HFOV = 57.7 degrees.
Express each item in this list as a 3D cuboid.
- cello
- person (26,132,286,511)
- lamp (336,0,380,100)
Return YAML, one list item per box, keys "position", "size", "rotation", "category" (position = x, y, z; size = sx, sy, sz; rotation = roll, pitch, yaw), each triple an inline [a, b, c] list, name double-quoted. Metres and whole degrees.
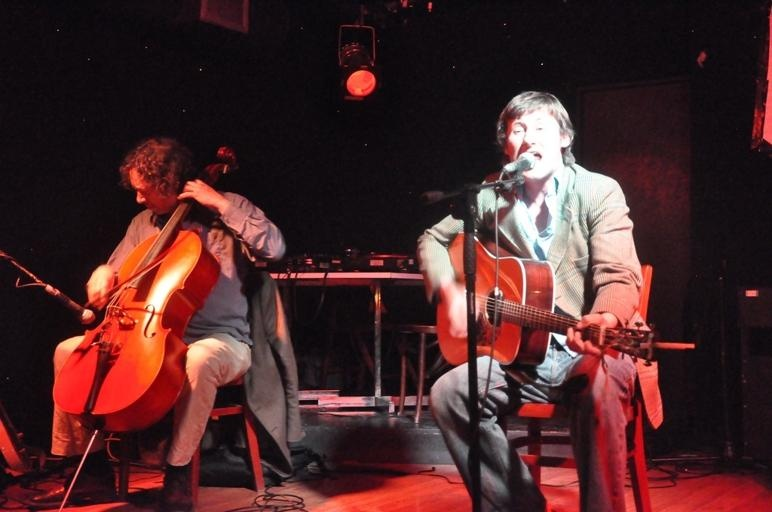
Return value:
- position: [-1.389, 0.300, 3.938]
  size: [0.864, 1.347, 0.401]
  rotation: [1, -10, -16]
  category: "cello"
- position: [-1.115, 0.442, 4.406]
  size: [1.499, 2.155, 0.762]
  rotation: [-8, -24, 24]
  category: "person"
- position: [-0.210, -1.522, 5.505]
  size: [0.292, 0.554, 0.164]
  rotation: [-2, -10, -2]
  category: "lamp"
